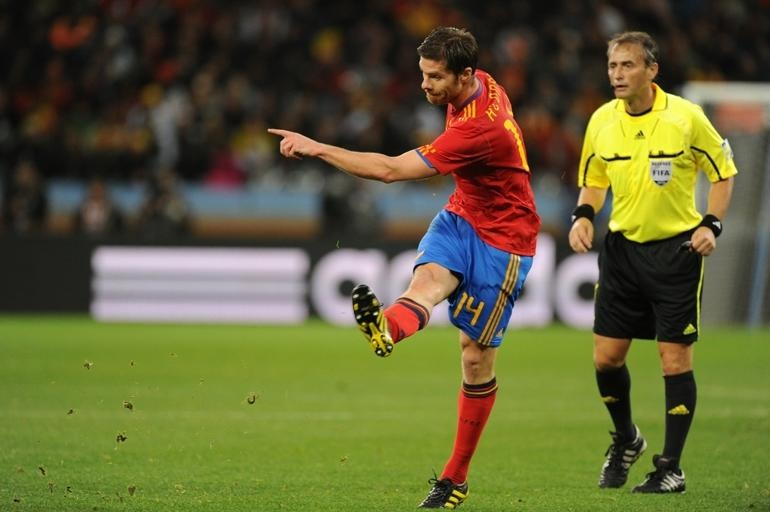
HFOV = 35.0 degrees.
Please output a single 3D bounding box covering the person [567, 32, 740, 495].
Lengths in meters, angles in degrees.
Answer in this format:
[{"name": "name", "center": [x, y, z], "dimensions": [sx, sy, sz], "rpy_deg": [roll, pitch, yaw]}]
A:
[{"name": "person", "center": [2.291, 0.039, 10.676], "dimensions": [1.349, 3.898, 0.844], "rpy_deg": [4, 9, 14]}]
